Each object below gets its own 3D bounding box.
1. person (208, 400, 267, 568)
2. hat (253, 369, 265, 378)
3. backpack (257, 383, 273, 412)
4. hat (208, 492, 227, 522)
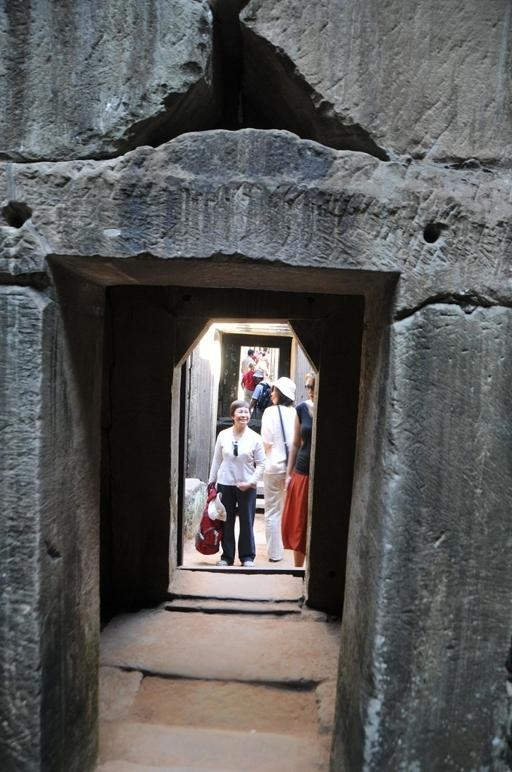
[{"bbox_3d":[-0.103,0.570,4.341,0.310,0.912,0.482,1,9,-3],"label":"person"},{"bbox_3d":[0.033,-0.120,7.419,0.072,0.108,0.135,2,17,-7],"label":"hat"},{"bbox_3d":[0.073,0.088,6.854,0.121,0.262,0.168,16,16,7],"label":"backpack"},{"bbox_3d":[-0.214,0.648,4.190,0.100,0.146,0.110,-3,10,-26],"label":"hat"}]
